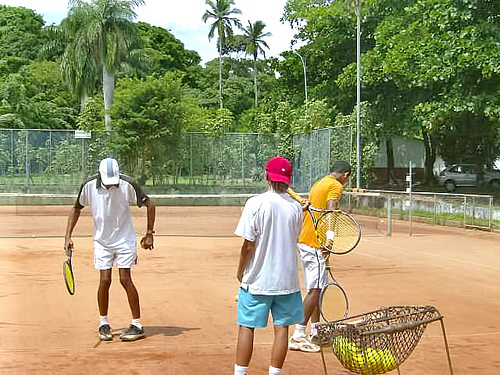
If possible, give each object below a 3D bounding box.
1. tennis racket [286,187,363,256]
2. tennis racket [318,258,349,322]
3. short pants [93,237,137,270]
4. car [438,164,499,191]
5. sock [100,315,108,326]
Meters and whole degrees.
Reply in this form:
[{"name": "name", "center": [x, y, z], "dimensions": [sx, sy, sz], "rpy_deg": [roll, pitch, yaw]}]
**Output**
[{"name": "tennis racket", "center": [1.095, 0.416, 10.250], "dimensions": [0.090, 0.590, 1.746], "rpy_deg": [24, 15, -40]}, {"name": "tennis racket", "center": [1.290, 1.581, 10.228], "dimensions": [0.447, 0.794, 0.514], "rpy_deg": [2, 0, 7]}, {"name": "short pants", "center": [-2.131, 1.110, 10.459], "dimensions": [0.702, 0.567, 0.410], "rpy_deg": [0, -14, -14]}, {"name": "car", "center": [13.103, -0.602, 39.424], "dimensions": [3.020, 1.439, 1.549], "rpy_deg": [-1, 1, 8]}, {"name": "sock", "center": [-2.283, 2.058, 10.425], "dimensions": [0.121, 0.197, 0.145], "rpy_deg": [0, -8, 19]}]
